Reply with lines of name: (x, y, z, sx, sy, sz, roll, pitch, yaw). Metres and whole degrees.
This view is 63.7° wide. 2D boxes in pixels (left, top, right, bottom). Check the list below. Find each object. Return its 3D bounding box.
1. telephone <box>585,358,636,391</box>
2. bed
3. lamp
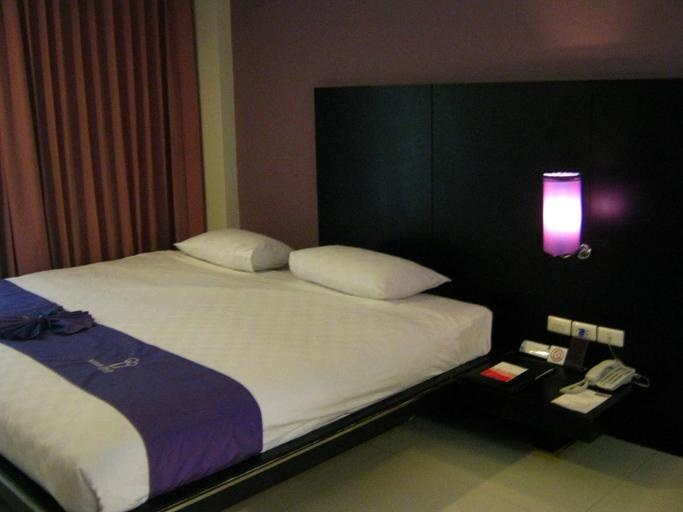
telephone: (1.329, 0.568, 2.678, 0.254, 0.079, 0.142, -14, 10, -30)
bed: (-0.562, 0.429, 2.388, 1.375, 0.200, 1.297, 10, 15, 42)
lamp: (1.148, -0.192, 2.783, 0.265, 0.450, 0.221, 8, 17, 23)
